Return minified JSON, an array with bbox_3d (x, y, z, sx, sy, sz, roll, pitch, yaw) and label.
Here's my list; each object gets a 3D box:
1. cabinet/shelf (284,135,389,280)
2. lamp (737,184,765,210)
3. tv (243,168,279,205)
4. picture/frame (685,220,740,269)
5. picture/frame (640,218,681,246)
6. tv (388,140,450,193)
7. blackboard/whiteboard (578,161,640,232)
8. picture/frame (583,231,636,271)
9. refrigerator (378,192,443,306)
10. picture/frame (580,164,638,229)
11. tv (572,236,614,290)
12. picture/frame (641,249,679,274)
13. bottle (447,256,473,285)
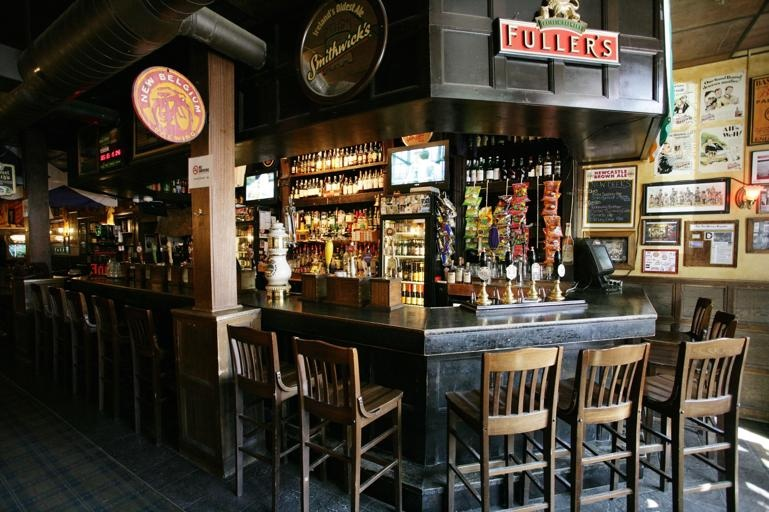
[{"bbox_3d":[-0.720,-0.610,9.897,2.369,2.295,0.767,-12,-19,37],"label":"cabinet/shelf"},{"bbox_3d":[4.758,-0.772,7.850,0.283,0.384,0.294,0,-4,34],"label":"lamp"},{"bbox_3d":[-2.011,-1.078,9.462,0.070,0.547,0.759,11,17,31],"label":"tv"},{"bbox_3d":[4.367,-0.154,7.938,0.610,0.681,0.049,3,1,34],"label":"picture/frame"},{"bbox_3d":[3.808,-0.333,8.232,0.376,0.328,0.027,2,-1,33],"label":"picture/frame"},{"bbox_3d":[0.503,-1.275,8.591,0.792,0.547,0.085,0,-1,29],"label":"tv"},{"bbox_3d":[3.212,-0.865,8.497,0.981,1.316,0.094,1,1,27],"label":"blackboard/whiteboard"},{"bbox_3d":[3.071,-0.049,8.132,0.523,0.497,0.039,7,4,36],"label":"picture/frame"},{"bbox_3d":[0.351,-0.122,8.784,0.890,1.674,0.334,1,7,35],"label":"refrigerator"},{"bbox_3d":[3.215,-0.863,8.497,0.908,1.265,0.091,2,2,26],"label":"picture/frame"},{"bbox_3d":[2.692,0.086,7.739,0.474,0.642,0.312,-1,6,18],"label":"tv"},{"bbox_3d":[3.803,0.070,8.229,0.322,0.280,0.032,5,0,33],"label":"picture/frame"},{"bbox_3d":[1.066,0.230,8.706,0.366,0.506,0.152,4,8,25],"label":"bottle"}]
